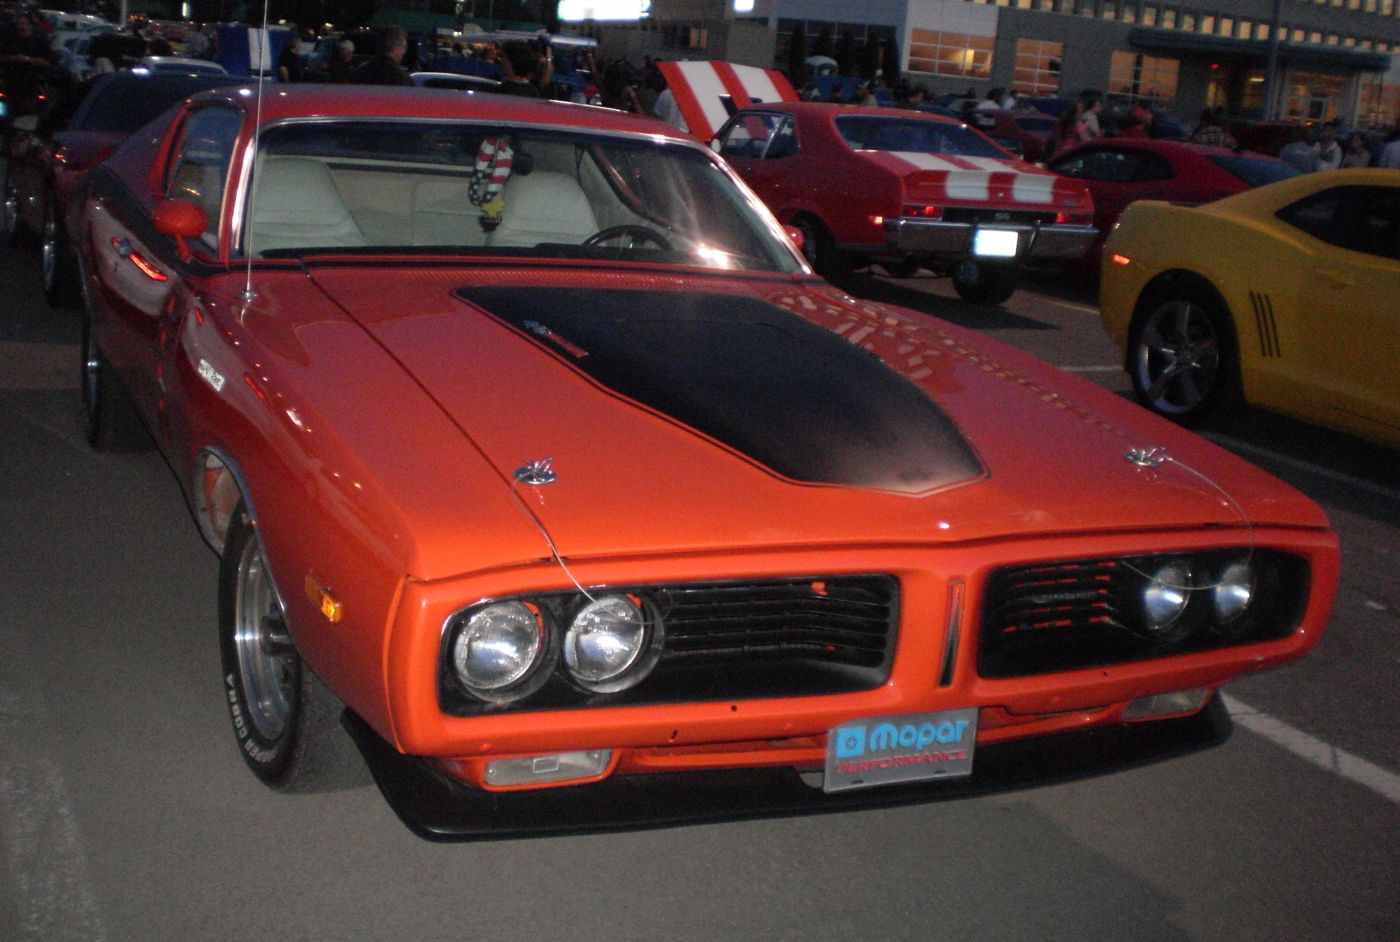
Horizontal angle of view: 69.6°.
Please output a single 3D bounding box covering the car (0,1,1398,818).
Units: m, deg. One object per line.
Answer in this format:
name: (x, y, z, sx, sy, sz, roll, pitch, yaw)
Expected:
car: (-0.310, -0.251, 3.374, 2.644, 1.770, 3.567, -15, 30, -33)
